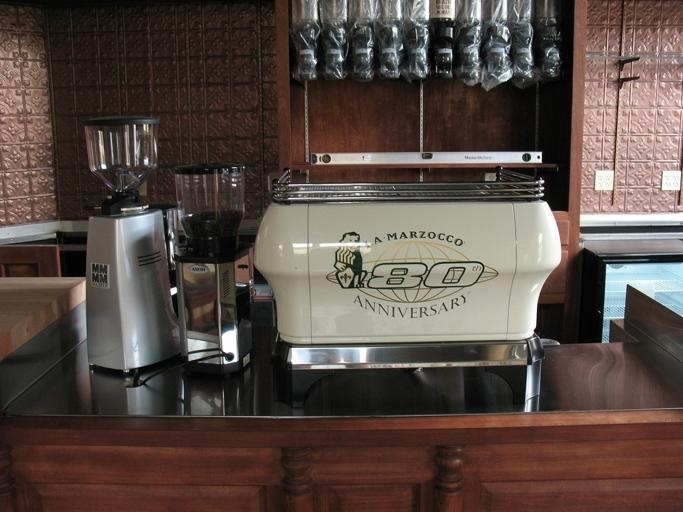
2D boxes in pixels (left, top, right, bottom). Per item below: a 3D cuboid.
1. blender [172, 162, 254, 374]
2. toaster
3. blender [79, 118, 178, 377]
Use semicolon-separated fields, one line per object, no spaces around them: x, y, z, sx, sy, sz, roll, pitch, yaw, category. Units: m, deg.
-0.339;0.026;1.662;0.196;0.527;0.200;-4;11;-10;blender
0.186;0.041;1.690;0.713;0.578;0.461;-1;20;9;toaster
-0.579;-0.037;1.666;0.239;0.653;0.267;-6;11;-19;blender
